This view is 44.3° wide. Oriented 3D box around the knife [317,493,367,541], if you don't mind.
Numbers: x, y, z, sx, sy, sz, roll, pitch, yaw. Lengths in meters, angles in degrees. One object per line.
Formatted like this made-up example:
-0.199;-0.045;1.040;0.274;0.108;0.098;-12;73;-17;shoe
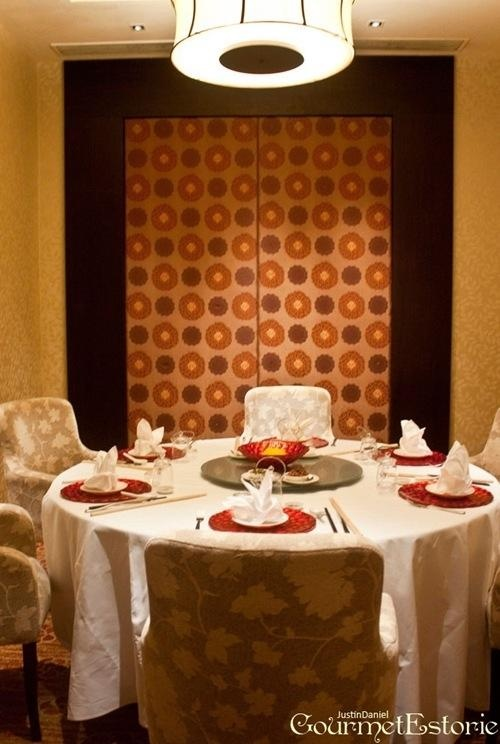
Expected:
0.232;0.374;1.579;0.166;0.102;0.195;2;6;1;knife

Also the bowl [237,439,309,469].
0.083;0.262;2.051;0.238;0.081;0.212;-1;3;7;bowl
